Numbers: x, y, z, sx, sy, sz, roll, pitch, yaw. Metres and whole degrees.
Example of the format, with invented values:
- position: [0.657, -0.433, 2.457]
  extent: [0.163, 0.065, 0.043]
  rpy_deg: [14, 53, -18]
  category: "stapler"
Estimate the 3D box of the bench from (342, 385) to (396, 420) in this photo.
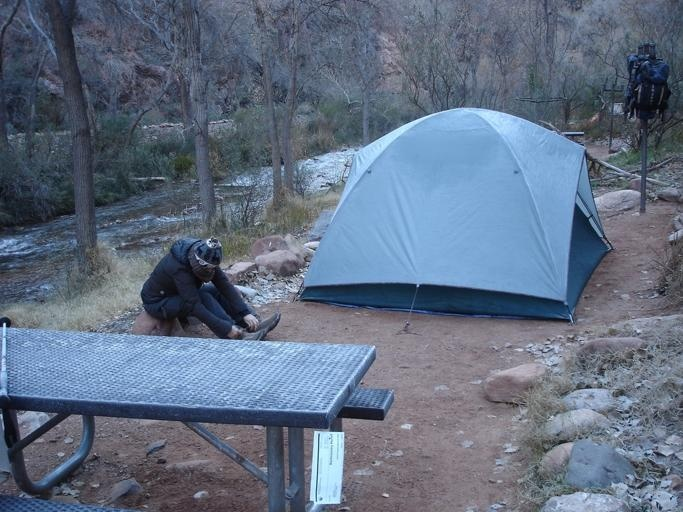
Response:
- position: [0.162, 0.920, 3.695]
  extent: [0.221, 0.061, 0.252]
  rpy_deg: [0, 9, 14]
  category: "bench"

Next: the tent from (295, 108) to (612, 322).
- position: [1.368, -0.515, 7.214]
  extent: [2.890, 1.464, 2.512]
  rpy_deg: [2, 20, 16]
  category: "tent"

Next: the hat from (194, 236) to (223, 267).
- position: [-1.242, -0.025, 5.453]
  extent: [0.286, 0.208, 0.187]
  rpy_deg: [28, -19, -11]
  category: "hat"
